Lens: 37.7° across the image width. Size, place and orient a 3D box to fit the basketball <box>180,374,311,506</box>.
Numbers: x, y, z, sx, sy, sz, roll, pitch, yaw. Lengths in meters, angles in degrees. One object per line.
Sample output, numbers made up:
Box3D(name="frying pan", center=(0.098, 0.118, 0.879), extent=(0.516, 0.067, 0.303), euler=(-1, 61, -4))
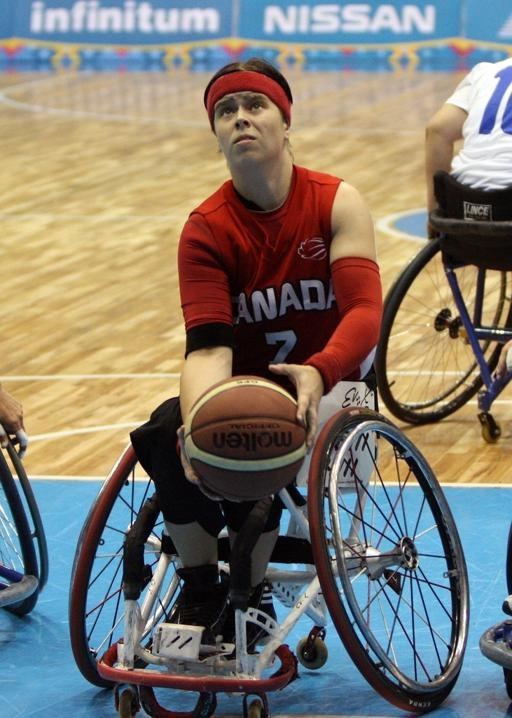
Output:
Box3D(name="basketball", center=(-0.012, 0.129, 1.218), extent=(0.232, 0.210, 0.222), euler=(-4, -6, 26))

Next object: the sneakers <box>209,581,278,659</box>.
Box3D(name="sneakers", center=(-0.018, 0.481, 1.401), extent=(0.069, 0.072, 0.194), euler=(-2, 2, 13))

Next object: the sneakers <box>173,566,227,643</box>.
Box3D(name="sneakers", center=(-0.098, 0.434, 1.344), extent=(0.076, 0.078, 0.125), euler=(-1, 48, 17))
